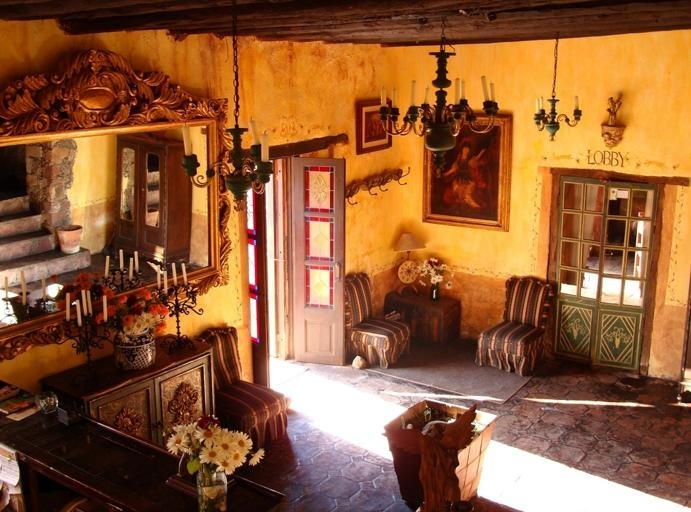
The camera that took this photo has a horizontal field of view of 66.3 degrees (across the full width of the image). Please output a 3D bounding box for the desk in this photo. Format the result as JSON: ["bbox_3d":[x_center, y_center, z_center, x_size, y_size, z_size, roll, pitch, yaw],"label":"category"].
[{"bbox_3d":[1.383,1.049,8.957,1.047,0.658,0.559,5,18,43],"label":"desk"}]

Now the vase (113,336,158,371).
[{"bbox_3d":[-2.007,0.902,5.102,0.319,0.317,0.327,0,5,-4],"label":"vase"}]

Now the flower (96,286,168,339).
[{"bbox_3d":[-2.010,0.433,5.036,0.489,0.443,0.481,-9,24,-30],"label":"flower"}]

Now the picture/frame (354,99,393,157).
[{"bbox_3d":[0.379,-1.905,7.827,0.085,0.970,1.155,3,12,32],"label":"picture/frame"}]

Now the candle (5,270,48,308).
[{"bbox_3d":[-2.752,0.292,4.604,0.279,0.197,0.283,16,18,41],"label":"candle"}]

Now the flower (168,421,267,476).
[{"bbox_3d":[-0.856,1.158,3.264,0.524,0.304,0.262,-1,11,-4],"label":"flower"}]

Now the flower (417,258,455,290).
[{"bbox_3d":[1.527,0.282,8.909,0.523,0.701,0.545,-7,20,-8],"label":"flower"}]

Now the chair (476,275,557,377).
[{"bbox_3d":[2.561,1.008,8.038,0.767,1.296,1.021,9,14,40],"label":"chair"}]

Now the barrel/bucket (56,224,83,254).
[{"bbox_3d":[-2.491,-0.160,4.908,0.223,0.248,0.228,3,18,-1],"label":"barrel/bucket"}]

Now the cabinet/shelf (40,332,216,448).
[{"bbox_3d":[-2.058,1.656,5.392,0.580,1.370,1.413,17,22,36],"label":"cabinet/shelf"}]

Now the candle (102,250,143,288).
[{"bbox_3d":[-2.187,0.135,5.244,0.332,0.346,0.341,4,7,15],"label":"candle"}]
